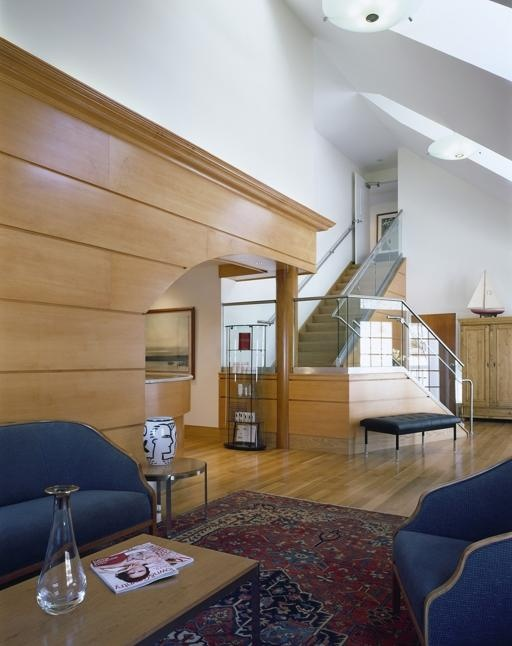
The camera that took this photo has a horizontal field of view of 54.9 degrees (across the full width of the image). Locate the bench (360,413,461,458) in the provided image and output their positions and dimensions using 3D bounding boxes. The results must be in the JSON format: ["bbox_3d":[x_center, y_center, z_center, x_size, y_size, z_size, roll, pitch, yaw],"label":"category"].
[{"bbox_3d":[1.834,1.351,6.035,1.220,0.420,0.658,4,-6,-42],"label":"bench"}]

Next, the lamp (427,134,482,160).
[{"bbox_3d":[3.143,-2.824,7.917,0.531,0.170,0.492,-6,8,-43],"label":"lamp"}]

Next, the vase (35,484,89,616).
[{"bbox_3d":[-0.522,0.618,1.337,0.117,0.324,0.070,2,-5,-23],"label":"vase"}]

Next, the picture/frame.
[{"bbox_3d":[-1.427,0.309,7.534,0.078,1.015,1.054,-1,-3,43],"label":"picture/frame"}]
